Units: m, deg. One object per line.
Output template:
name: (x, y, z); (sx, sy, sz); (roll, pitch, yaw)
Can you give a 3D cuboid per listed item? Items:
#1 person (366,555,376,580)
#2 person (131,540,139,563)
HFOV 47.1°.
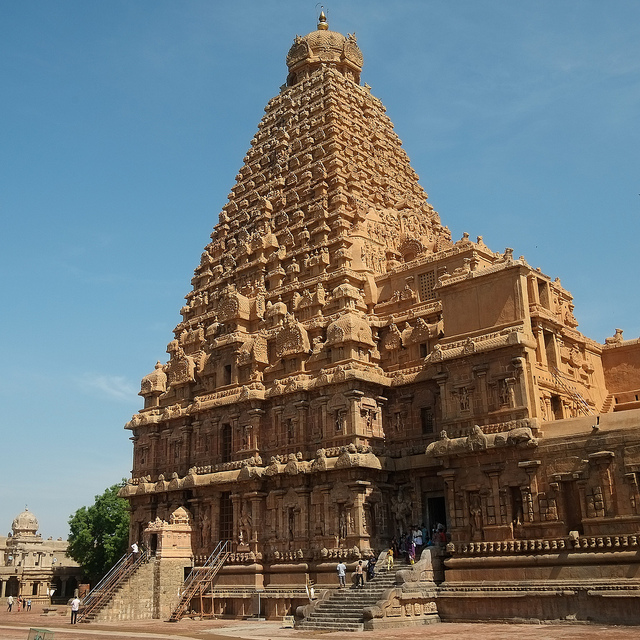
person: (2.237, 10.741, 31.947); (0.427, 1.050, 1.298); (-4, -20, 4)
person: (-10.957, 13.686, 43.328); (0.457, 0.996, 1.871); (3, -20, -13)
